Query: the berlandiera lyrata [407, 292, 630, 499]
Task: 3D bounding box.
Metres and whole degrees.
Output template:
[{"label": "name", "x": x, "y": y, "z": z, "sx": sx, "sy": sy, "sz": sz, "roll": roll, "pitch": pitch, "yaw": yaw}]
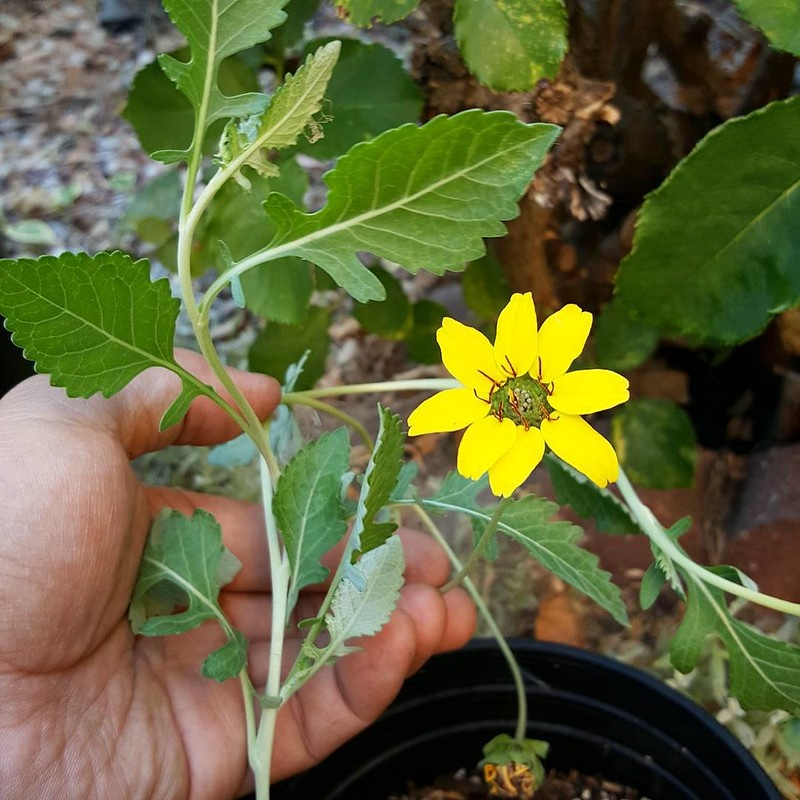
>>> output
[{"label": "berlandiera lyrata", "x": 0.107, "y": -0.007, "z": 0.715, "sx": 0.185, "sy": 0.093, "sz": 0.190, "roll": 7, "pitch": 55, "yaw": 9}]
